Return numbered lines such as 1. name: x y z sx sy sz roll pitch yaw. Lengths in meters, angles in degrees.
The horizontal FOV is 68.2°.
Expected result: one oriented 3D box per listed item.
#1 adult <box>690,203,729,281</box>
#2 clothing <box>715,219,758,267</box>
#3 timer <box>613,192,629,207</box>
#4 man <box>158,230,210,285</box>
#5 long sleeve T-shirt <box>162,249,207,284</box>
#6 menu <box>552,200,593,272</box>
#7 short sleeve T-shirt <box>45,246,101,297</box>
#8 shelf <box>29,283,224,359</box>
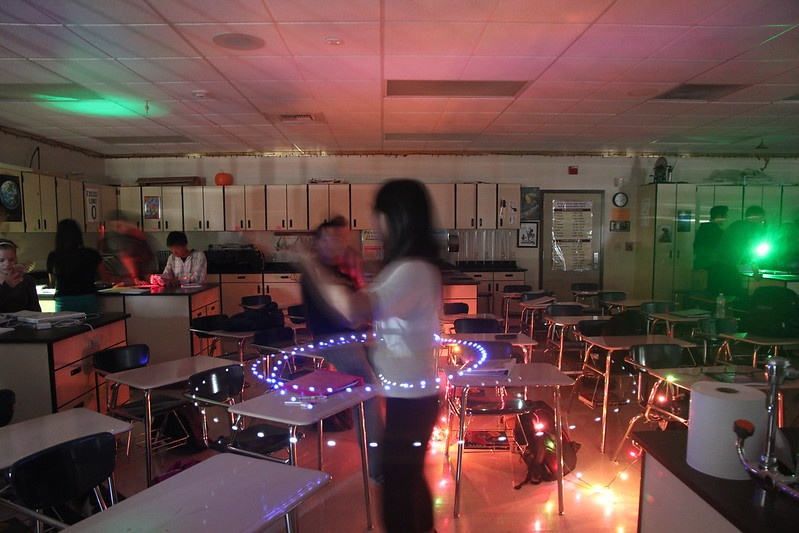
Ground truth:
1. adult: 5.030 -0.294 9.292 0.455 1.280 0.438 10 -14 -27
2. clothing: 5.205 -0.393 8.962 0.637 0.807 0.477 -10 23 -1
3. timer: 3.951 -1.184 10.369 0.276 0.232 0.059 -7 4 -1
4. man: -3.012 -0.118 8.183 0.567 0.721 0.645 -4 5 -15
5. long sleeve T-shirt: -3.011 0.001 8.306 0.629 0.510 0.324 0 -5 8
6. menu: 3.076 -0.571 10.539 1.139 1.643 0.140 0 2 -12
7. short sleeve T-shirt: -3.894 0.064 7.032 0.736 0.588 0.381 -2 8 -19
8. shelf: -3.301 0.674 7.755 1.461 1.138 1.342 1 4 10
